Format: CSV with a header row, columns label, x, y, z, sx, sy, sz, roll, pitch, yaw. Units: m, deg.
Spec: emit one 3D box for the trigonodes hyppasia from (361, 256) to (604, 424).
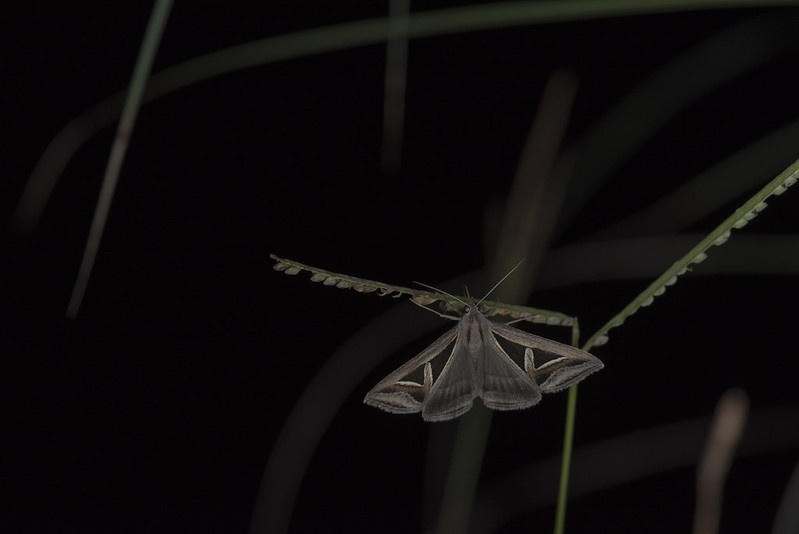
label,x,y,z,sx,sy,sz,roll,pitch,yaw
trigonodes hyppasia,0.135,0.126,1.393,0.397,0.093,0.247,-5,-79,-6
